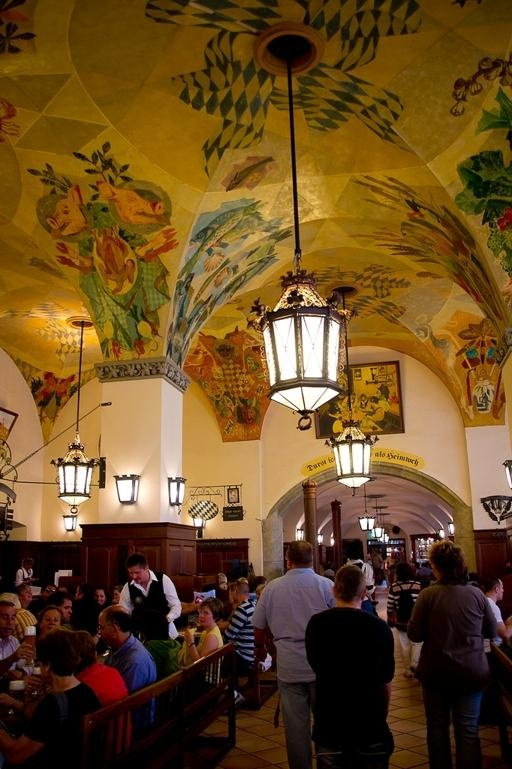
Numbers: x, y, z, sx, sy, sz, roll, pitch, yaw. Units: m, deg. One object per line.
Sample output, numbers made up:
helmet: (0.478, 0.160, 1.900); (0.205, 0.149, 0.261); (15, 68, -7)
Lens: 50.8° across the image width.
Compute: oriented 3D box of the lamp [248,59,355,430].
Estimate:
lamp: (0.337, -1.416, 4.248); (0.654, 3.606, 1.923); (-3, -10, 9)

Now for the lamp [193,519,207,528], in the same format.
lamp: (-1.544, 3.703, 14.319); (0.303, 0.277, 0.424); (-3, -9, 6)

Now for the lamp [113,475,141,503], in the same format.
lamp: (-1.868, 1.520, 7.695); (0.368, 0.428, 0.188); (-3, -10, 9)

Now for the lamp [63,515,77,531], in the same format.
lamp: (-4.760, 3.574, 13.810); (0.335, 0.473, 0.578); (2, -10, -19)

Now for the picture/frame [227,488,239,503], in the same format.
picture/frame: (-0.605, 2.998, 14.477); (0.422, 0.528, 0.055); (-2, -20, 10)

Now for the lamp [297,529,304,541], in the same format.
lamp: (1.615, 5.383, 19.450); (0.218, 0.293, 0.492); (-6, -10, 23)

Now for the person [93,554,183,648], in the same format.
person: (-1.137, 2.493, 5.652); (0.646, 1.436, 0.539); (-4, 10, -6)

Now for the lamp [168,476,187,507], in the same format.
lamp: (-1.193, 1.637, 8.117); (0.202, 0.462, 0.494); (-1, -9, -2)

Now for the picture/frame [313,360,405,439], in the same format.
picture/frame: (2.374, 0.325, 11.267); (2.108, 1.711, 0.134); (-3, -18, 10)
